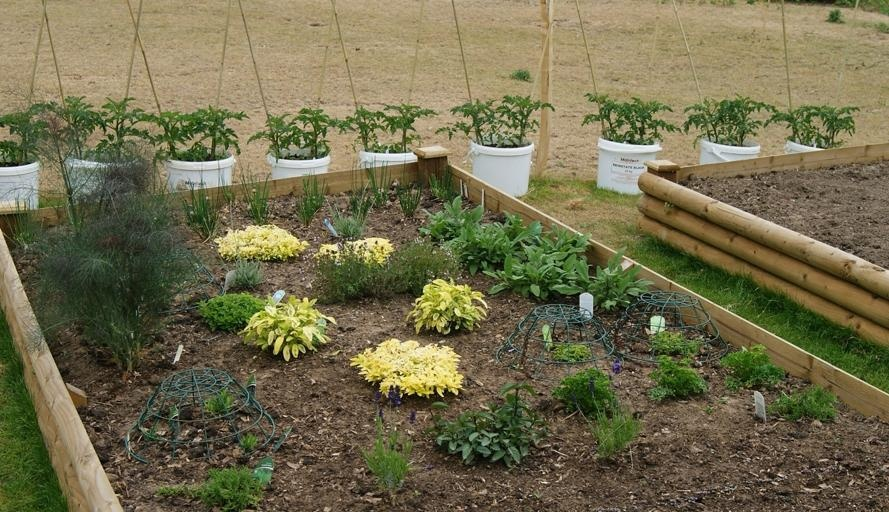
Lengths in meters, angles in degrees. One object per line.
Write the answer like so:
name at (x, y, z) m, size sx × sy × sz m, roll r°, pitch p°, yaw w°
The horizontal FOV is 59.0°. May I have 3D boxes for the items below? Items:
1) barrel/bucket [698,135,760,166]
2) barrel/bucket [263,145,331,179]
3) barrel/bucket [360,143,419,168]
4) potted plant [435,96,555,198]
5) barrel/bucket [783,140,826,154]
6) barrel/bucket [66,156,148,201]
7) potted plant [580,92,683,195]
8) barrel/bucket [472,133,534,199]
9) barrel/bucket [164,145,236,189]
barrel/bucket at (4.511, -1.607, 12.452) m, size 0.882 × 0.401 × 0.963 m, roll 0°, pitch 20°, yaw 0°
barrel/bucket at (-2.160, -1.373, 11.763) m, size 0.859 × 0.385 × 0.724 m, roll -3°, pitch 21°, yaw -10°
barrel/bucket at (-0.849, -1.498, 11.974) m, size 0.812 × 0.335 × 0.663 m, roll -6°, pitch 21°, yaw -17°
potted plant at (0.975, -1.747, 12.410) m, size 1.508 × 1.347 × 1.011 m, roll -3°, pitch -4°, yaw 10°
barrel/bucket at (5.898, -1.770, 12.843) m, size 0.434 × 0.186 × 0.352 m, roll -1°, pitch 17°, yaw -3°
barrel/bucket at (-3.726, -0.858, 8.609) m, size 0.598 × 0.438 × 0.614 m, roll 2°, pitch 6°, yaw 0°
potted plant at (2.906, -1.749, 12.536) m, size 1.354 × 1.261 × 0.978 m, roll 3°, pitch 20°, yaw -1°
barrel/bucket at (0.886, -1.456, 12.280) m, size 0.967 × 0.675 × 0.859 m, roll -2°, pitch 20°, yaw -5°
barrel/bucket at (-3.525, -1.179, 11.189) m, size 0.722 × 0.549 × 0.750 m, roll 3°, pitch 15°, yaw -1°
